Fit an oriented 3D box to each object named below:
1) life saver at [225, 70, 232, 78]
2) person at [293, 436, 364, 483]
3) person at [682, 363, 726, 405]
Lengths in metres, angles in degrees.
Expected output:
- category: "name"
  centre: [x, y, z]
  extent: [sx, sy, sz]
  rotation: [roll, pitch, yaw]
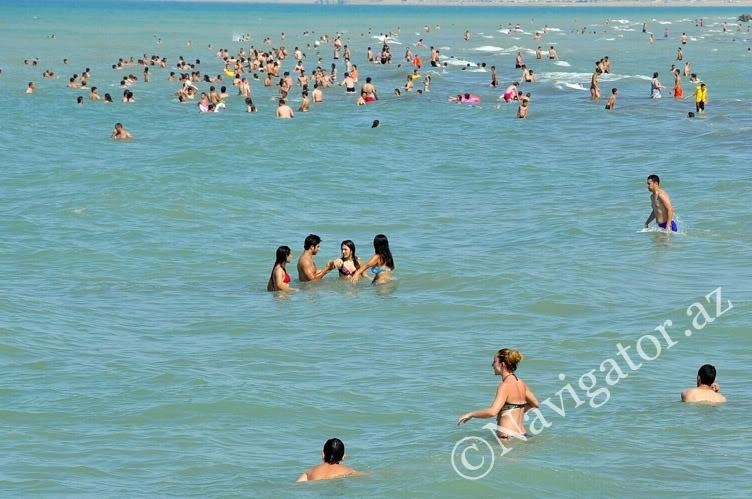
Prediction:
- category: "life saver"
  centre: [-10.009, -11.974, 90.080]
  extent: [0.436, 1.379, 0.284]
  rotation: [9, 99, -22]
- category: "person"
  centre: [-1.262, 6.166, 38.016]
  extent: [2.491, 0.824, 1.240]
  rotation: [-4, 76, 16]
- category: "person"
  centre: [9.964, 4.129, 40.479]
  extent: [1.244, 0.601, 0.881]
  rotation: [6, 104, 6]
